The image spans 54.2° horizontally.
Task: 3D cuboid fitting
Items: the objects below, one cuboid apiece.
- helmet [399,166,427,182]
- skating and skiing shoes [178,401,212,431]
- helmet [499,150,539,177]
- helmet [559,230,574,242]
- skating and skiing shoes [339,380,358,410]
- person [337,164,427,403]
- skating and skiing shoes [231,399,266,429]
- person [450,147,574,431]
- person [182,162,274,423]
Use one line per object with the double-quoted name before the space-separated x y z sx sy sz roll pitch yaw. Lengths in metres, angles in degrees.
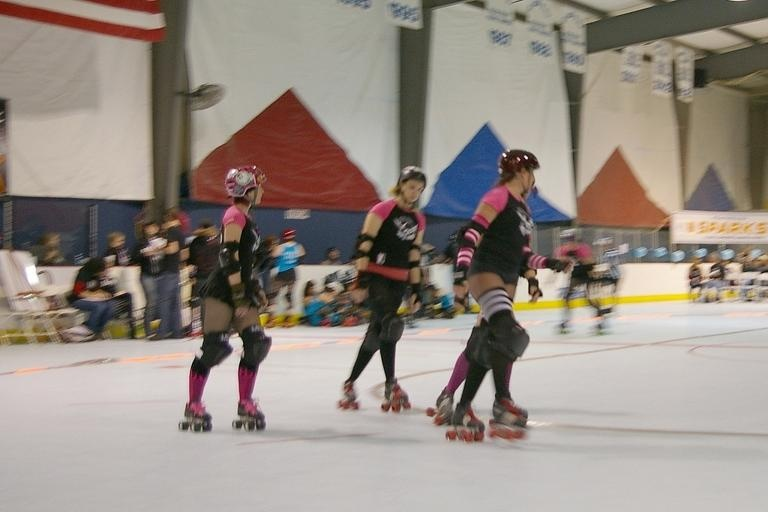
"helmet" 0.265 -0.789 7.259 0.237 0.136 0.104 1 3 17
"skating and skiing shoes" -1.674 1.442 6.725 0.250 0.266 0.269 -1 -2 5
"helmet" 1.210 -0.870 6.816 0.303 0.249 0.223 -11 13 -5
"helmet" 2.993 -0.333 12.341 0.304 0.099 0.301 -9 -7 -45
"skating and skiing shoes" -0.355 1.348 7.347 0.206 0.290 0.123 0 3 -9
"person" -0.011 0.301 7.400 0.815 2.385 0.438 0 3 -2
"skating and skiing shoes" -1.198 1.423 6.796 0.257 0.248 0.269 1 0 33
"person" 0.980 0.298 6.630 0.798 2.504 0.483 0 3 -9
"person" -1.410 0.377 6.735 0.723 2.367 0.355 -1 3 -17
